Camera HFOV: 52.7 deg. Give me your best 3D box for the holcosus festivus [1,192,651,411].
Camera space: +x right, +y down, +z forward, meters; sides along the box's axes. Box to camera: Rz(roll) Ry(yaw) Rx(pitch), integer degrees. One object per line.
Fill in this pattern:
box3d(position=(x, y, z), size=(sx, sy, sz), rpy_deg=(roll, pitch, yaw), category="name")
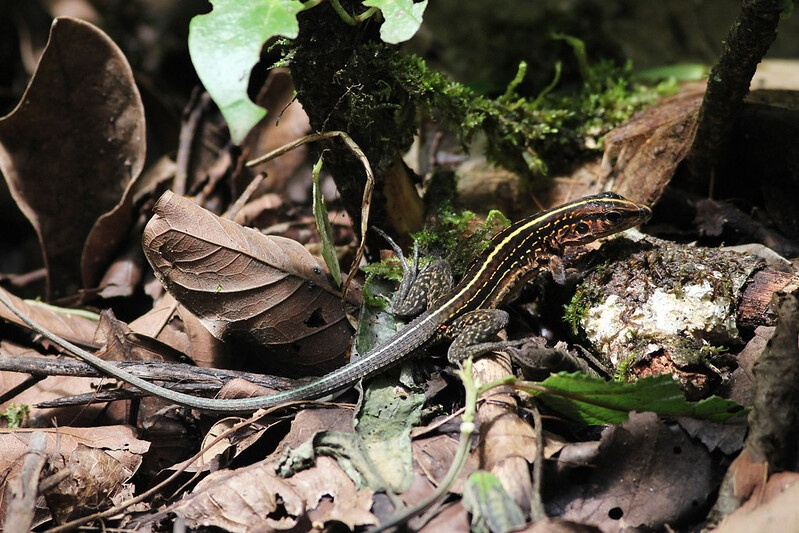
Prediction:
box3d(position=(0.169, 0.268, 5.845), size=(3.575, 0.776, 0.714), rpy_deg=(-30, 41, -7), category="holcosus festivus")
